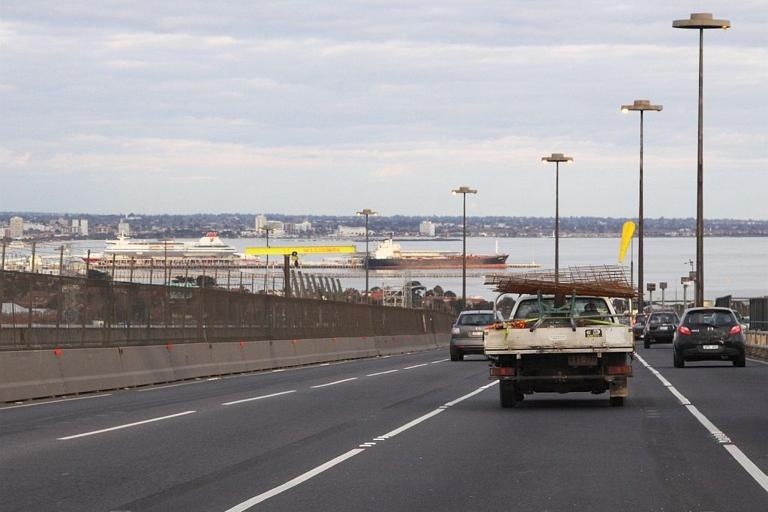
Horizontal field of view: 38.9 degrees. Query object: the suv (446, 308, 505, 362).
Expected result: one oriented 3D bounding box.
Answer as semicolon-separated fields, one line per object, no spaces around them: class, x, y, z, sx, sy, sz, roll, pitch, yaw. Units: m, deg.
suv;3.475;3.215;43.141;1.615;1.319;2.960;0;5;4
